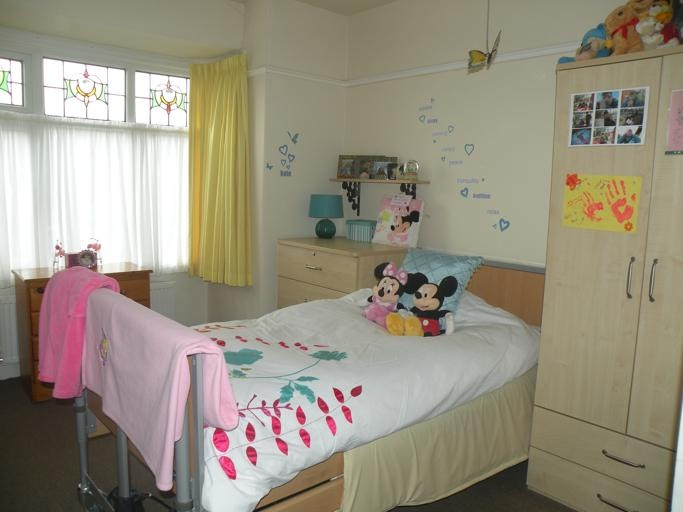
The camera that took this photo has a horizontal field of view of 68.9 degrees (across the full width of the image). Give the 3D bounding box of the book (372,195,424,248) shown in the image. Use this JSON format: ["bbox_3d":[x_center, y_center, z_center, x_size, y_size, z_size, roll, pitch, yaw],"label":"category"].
[{"bbox_3d":[0.470,-0.281,4.077,0.412,0.423,0.097,6,-5,44],"label":"book"}]

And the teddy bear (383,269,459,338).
[{"bbox_3d":[0.496,0.319,3.151,0.385,0.527,0.318,-5,-18,38],"label":"teddy bear"}]

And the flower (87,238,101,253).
[{"bbox_3d":[-2.029,-0.085,4.078,0.134,0.075,0.174,0,14,-38],"label":"flower"}]

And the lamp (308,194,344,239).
[{"bbox_3d":[-0.152,-0.372,4.463,0.338,0.415,0.340,-7,12,-36],"label":"lamp"}]
